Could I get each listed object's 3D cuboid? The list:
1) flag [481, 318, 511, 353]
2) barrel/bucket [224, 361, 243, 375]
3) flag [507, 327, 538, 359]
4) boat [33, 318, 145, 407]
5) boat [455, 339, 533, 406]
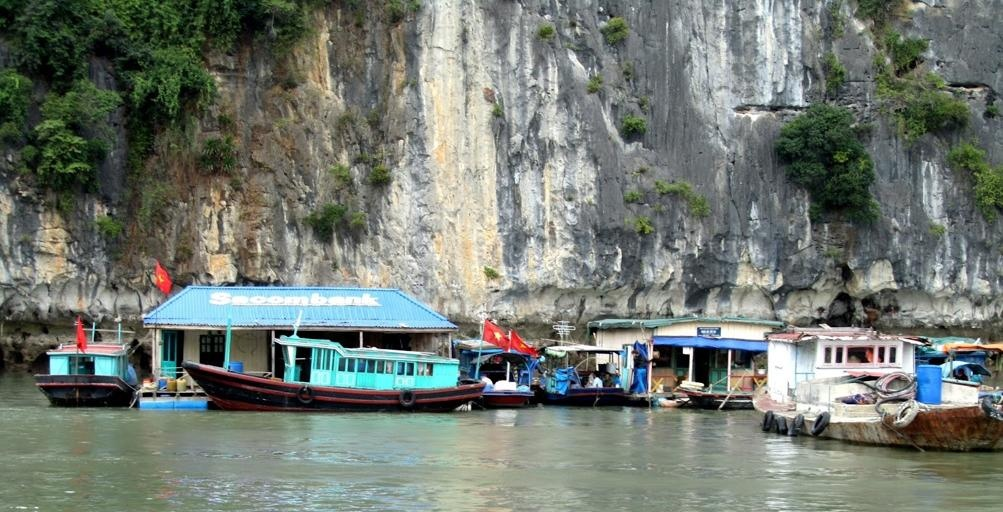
[{"bbox_3d":[-0.504,5.093,121.322,1.961,1.835,0.240,9,-6,-21],"label":"flag"},{"bbox_3d":[-16.407,6.800,117.197,0.653,1.093,1.182,-5,-3,32],"label":"barrel/bucket"},{"bbox_3d":[1.184,5.646,123.198,1.934,1.885,0.346,1,-8,-29],"label":"flag"},{"bbox_3d":[-25.252,6.546,116.336,5.470,5.217,2.109,-1,-1,-13],"label":"boat"},{"bbox_3d":[-0.364,7.574,121.544,3.248,2.219,5.497,1,0,-7],"label":"boat"}]
